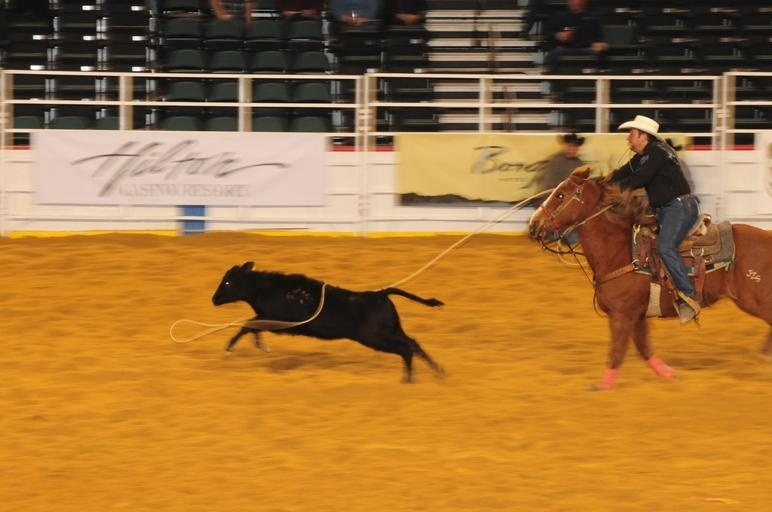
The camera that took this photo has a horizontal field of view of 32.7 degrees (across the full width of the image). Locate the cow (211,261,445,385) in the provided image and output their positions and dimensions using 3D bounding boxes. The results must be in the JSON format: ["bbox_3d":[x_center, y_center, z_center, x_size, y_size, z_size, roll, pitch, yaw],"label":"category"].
[{"bbox_3d":[-0.831,0.845,17.722,2.761,1.518,0.797,3,8,25],"label":"cow"}]

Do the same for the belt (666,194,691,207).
[{"bbox_3d":[3.841,-0.747,17.222,0.243,0.037,0.173,-17,-3,-3],"label":"belt"}]
